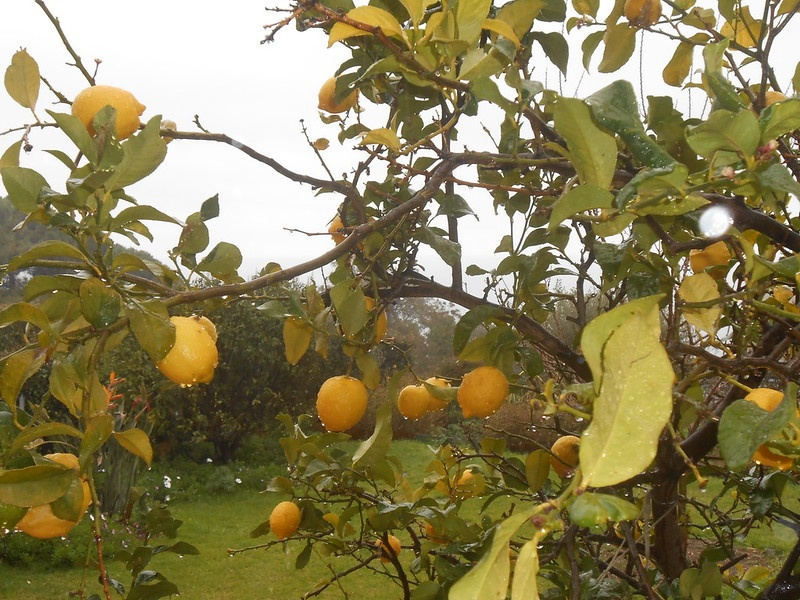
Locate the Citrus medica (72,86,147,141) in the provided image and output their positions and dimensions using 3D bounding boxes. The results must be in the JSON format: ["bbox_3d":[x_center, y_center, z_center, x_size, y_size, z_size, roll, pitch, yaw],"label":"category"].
[{"bbox_3d":[-0.742,-0.478,1.777,0.174,0.139,0.139,1,-20,-4],"label":"Citrus medica"}]
